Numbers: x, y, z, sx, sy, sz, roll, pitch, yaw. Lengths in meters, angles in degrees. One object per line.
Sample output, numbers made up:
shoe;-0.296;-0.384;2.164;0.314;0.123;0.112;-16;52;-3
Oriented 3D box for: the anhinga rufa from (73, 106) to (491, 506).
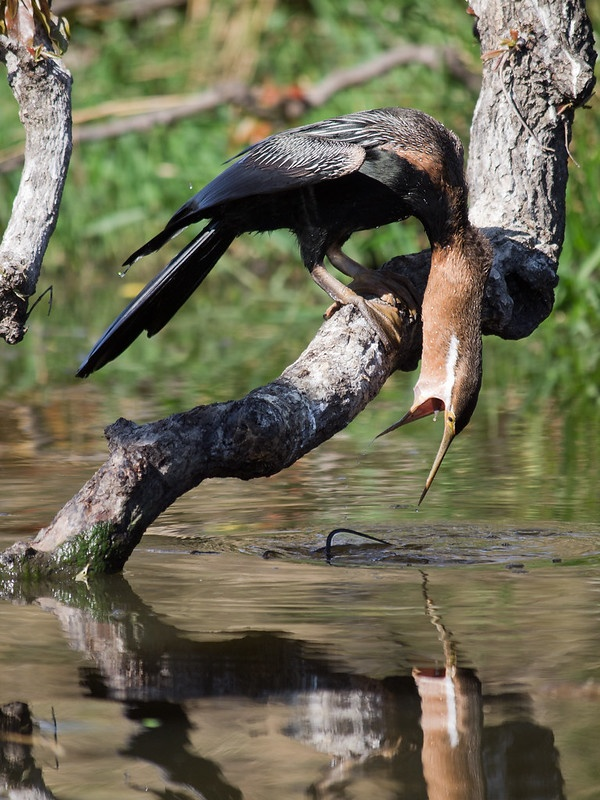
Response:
anhinga rufa;-0.082;-0.482;3.489;1.416;0.625;0.441;-5;-2;21
